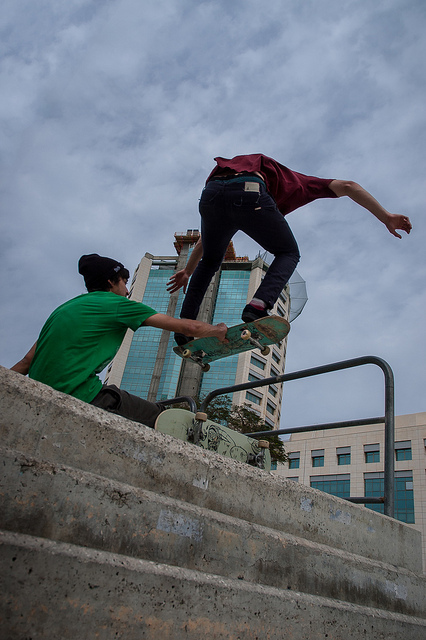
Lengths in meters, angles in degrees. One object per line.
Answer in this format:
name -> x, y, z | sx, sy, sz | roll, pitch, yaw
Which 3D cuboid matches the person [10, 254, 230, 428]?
person -> -0.590, 0.022, 2.314 | 0.798, 0.961, 1.100 | 5, -17, 19
